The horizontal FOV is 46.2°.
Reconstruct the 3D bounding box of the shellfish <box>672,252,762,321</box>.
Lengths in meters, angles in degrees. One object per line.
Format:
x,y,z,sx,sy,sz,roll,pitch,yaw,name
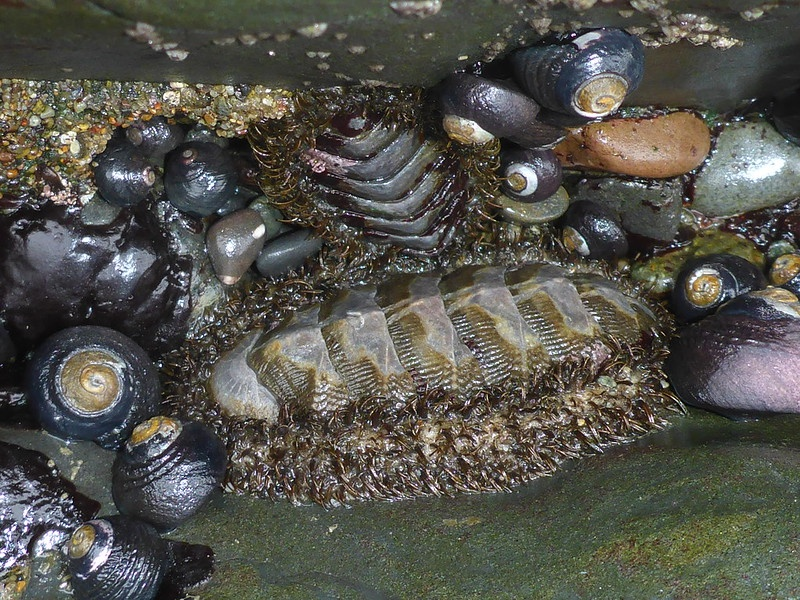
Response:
2.232,-0.035,6.613,0.544,0.238,0.478,-26,61,21,shellfish

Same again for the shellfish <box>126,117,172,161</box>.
-1.676,-1.031,6.117,0.287,0.331,0.242,-9,92,-10,shellfish

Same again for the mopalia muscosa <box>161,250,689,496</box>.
0.127,0.560,6.226,3.157,0.589,1.491,-4,79,1,mopalia muscosa

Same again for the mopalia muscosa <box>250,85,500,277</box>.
-0.152,-0.814,6.306,1.297,1.337,0.369,-35,32,11,mopalia muscosa

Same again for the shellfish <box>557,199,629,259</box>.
1.323,-0.537,6.931,0.466,0.399,0.188,17,76,3,shellfish

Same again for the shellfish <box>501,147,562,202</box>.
0.920,-0.851,6.523,0.476,0.338,0.313,-3,27,4,shellfish

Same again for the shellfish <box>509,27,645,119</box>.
1.088,-1.321,5.631,0.756,0.330,0.465,-12,79,-1,shellfish
